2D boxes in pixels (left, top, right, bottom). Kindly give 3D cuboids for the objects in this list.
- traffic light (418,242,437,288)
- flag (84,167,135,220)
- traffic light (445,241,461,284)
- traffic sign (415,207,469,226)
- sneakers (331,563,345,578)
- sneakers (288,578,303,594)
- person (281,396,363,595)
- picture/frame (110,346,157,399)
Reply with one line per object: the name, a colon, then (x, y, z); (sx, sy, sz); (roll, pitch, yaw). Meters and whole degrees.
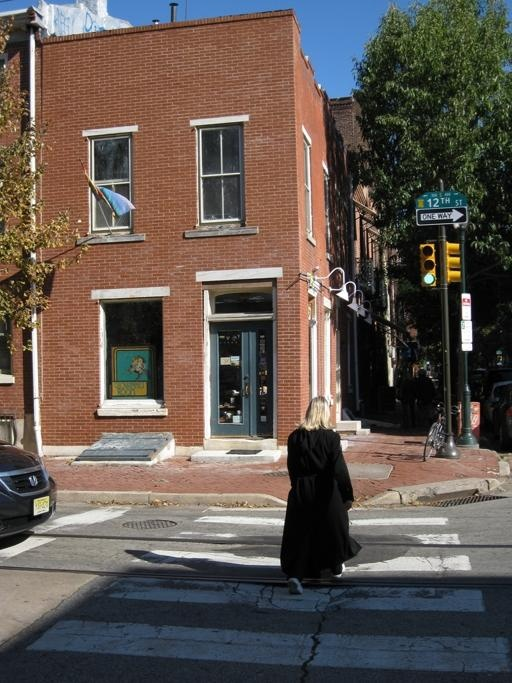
traffic light: (2.853, -1.280, 14.684); (0.239, 0.706, 0.415); (-1, -1, 7)
flag: (-2.572, -2.618, 15.874); (0.696, 0.805, 0.890); (0, -1, -29)
traffic light: (3.481, -1.398, 15.631); (0.228, 0.770, 1.185); (-1, -1, 14)
traffic sign: (3.076, -2.046, 14.735); (0.815, 0.269, 0.676); (-1, -1, 9)
sneakers: (0.640, 1.761, 6.862); (0.068, 0.084, 0.201); (3, -1, 13)
sneakers: (0.283, 1.801, 6.591); (0.135, 0.114, 0.100); (-1, -1, 23)
person: (0.480, 1.148, 6.735); (0.585, 1.412, 0.407); (-1, -1, 5)
picture/frame: (-2.191, 0.581, 16.075); (0.971, 1.110, 0.085); (0, -1, 4)
